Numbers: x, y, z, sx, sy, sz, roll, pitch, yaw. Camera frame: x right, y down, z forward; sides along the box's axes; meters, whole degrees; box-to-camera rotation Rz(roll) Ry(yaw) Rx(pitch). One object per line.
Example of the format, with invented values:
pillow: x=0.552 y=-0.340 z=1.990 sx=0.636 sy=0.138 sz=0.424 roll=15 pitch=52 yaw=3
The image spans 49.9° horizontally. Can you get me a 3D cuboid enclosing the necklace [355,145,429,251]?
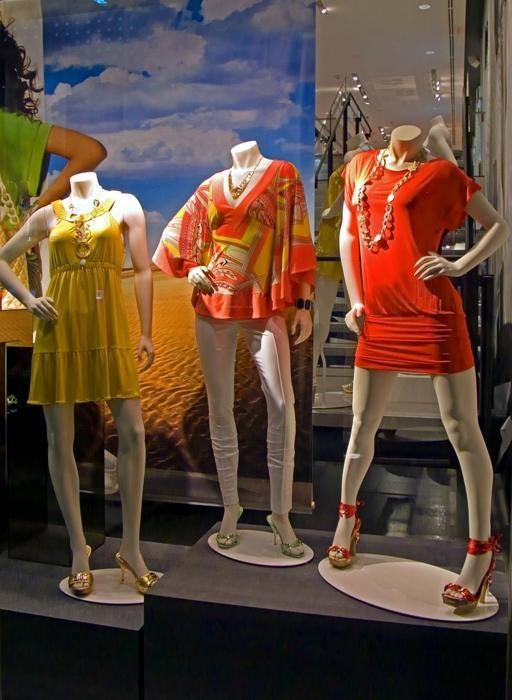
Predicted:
necklace: x=0.342 y=-0.418 z=1.579 sx=0.166 sy=0.273 sz=0.045 roll=3 pitch=-6 yaw=23

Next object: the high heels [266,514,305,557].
high heels: x=0.094 y=0.656 z=1.909 sx=0.059 sy=0.072 sz=0.181 roll=-16 pitch=0 yaw=-16

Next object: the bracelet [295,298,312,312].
bracelet: x=0.160 y=-0.154 z=1.885 sx=0.050 sy=0.034 sz=0.054 roll=5 pitch=3 yaw=11

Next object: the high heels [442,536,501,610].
high heels: x=0.577 y=0.598 z=1.493 sx=0.181 sy=0.159 sz=0.087 roll=-5 pitch=12 yaw=-29

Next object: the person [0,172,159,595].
person: x=-0.600 y=0.110 z=1.847 sx=0.502 sy=1.393 sz=0.393 roll=-1 pitch=10 yaw=-10

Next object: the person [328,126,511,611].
person: x=0.436 y=0.035 z=1.567 sx=0.529 sy=1.315 sz=0.256 roll=9 pitch=13 yaw=40

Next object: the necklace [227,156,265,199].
necklace: x=-0.031 y=-0.590 z=1.900 sx=0.160 sy=0.156 sz=0.026 roll=8 pitch=-18 yaw=32

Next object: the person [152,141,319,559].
person: x=-0.092 y=-0.009 z=1.908 sx=0.579 sy=1.391 sz=0.319 roll=2 pitch=10 yaw=12

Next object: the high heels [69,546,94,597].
high heels: x=-0.578 y=0.775 z=1.818 sx=0.077 sy=0.054 sz=0.095 roll=-3 pitch=11 yaw=-20
